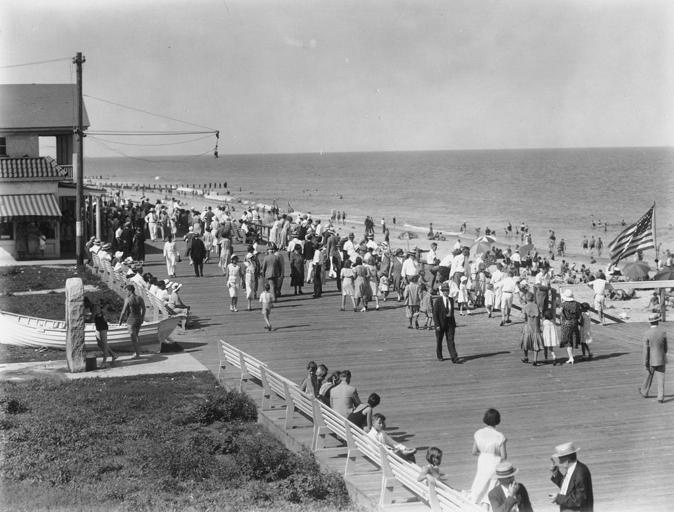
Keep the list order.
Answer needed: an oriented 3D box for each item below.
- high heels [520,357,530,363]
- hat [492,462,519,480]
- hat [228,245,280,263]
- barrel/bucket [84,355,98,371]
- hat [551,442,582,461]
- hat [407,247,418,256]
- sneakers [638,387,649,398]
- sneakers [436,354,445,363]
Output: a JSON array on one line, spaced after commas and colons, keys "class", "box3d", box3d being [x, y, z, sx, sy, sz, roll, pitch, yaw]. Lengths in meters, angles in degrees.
[{"class": "high heels", "box3d": [4.789, 2.665, 25.526, 0.120, 0.072, 0.170, 8, 10, 30]}, {"class": "hat", "box3d": [2.761, 3.501, 16.394, 0.319, 0.270, 0.412, 1, 3, 10]}, {"class": "hat", "box3d": [-2.847, -0.041, 34.251, 1.314, 0.468, 0.474, -2, 9, 5]}, {"class": "barrel/bucket", "box3d": [-6.216, 2.726, 25.275, 0.277, 0.232, 0.293, 1, -2, 0]}, {"class": "hat", "box3d": [3.693, 3.174, 16.271, 0.298, 0.308, 0.343, 1, 3, -2]}, {"class": "hat", "box3d": [3.298, -0.195, 43.890, 0.290, 0.434, 0.976, 0, -10, 10]}, {"class": "sneakers", "box3d": [6.980, 3.107, 22.740, 0.217, 0.201, 0.421, 2, 3, 17]}, {"class": "sneakers", "box3d": [2.650, 2.604, 25.578, 0.141, 0.155, 0.271, -4, -9, 6]}]
